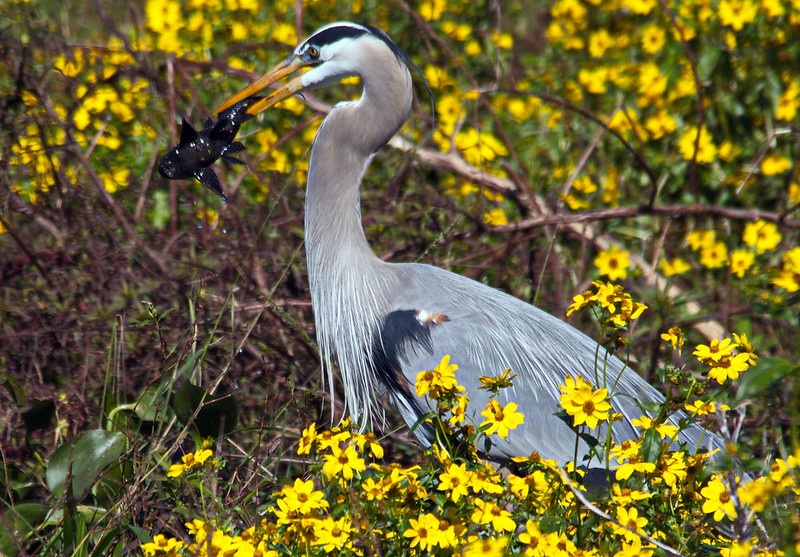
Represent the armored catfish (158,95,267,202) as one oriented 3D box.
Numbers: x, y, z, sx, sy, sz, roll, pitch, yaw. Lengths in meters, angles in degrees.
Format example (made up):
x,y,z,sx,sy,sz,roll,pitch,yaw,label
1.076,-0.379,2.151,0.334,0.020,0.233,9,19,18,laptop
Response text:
x,y,z,sx,sy,sz,roll,pitch,yaw,label
-1.036,-0.750,6.538,0.512,0.291,0.456,-29,-80,5,armored catfish
